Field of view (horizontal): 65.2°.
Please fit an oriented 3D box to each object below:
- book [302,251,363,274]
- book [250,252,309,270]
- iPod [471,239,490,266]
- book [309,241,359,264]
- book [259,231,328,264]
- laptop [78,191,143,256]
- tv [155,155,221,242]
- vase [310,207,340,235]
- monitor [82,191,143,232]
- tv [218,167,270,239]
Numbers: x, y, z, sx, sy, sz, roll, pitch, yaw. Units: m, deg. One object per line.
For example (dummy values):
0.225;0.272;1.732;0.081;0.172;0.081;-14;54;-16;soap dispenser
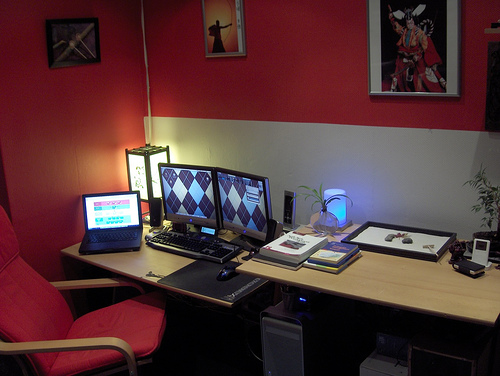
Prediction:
0.491;0.393;2.365;0.318;0.074;0.314;10;13;35;book
0.210;0.410;2.487;0.331;0.059;0.310;4;12;29;book
1.271;0.357;2.165;0.078;0.164;0.016;8;26;34;iPod
0.513;0.392;2.368;0.191;0.034;0.306;3;13;40;book
0.284;0.375;2.492;0.278;0.055;0.385;7;15;37;book
-1.102;0.261;3.099;0.473;0.369;0.429;-6;18;-20;laptop
-0.504;0.112;3.181;0.546;0.610;0.187;9;21;28;tv
0.525;0.211;2.794;0.168;0.250;0.179;-5;9;-8;vase
-1.145;0.150;3.387;0.511;0.379;0.397;-3;11;-6;monitor
-0.052;0.128;2.928;0.459;0.498;0.049;14;28;31;tv
